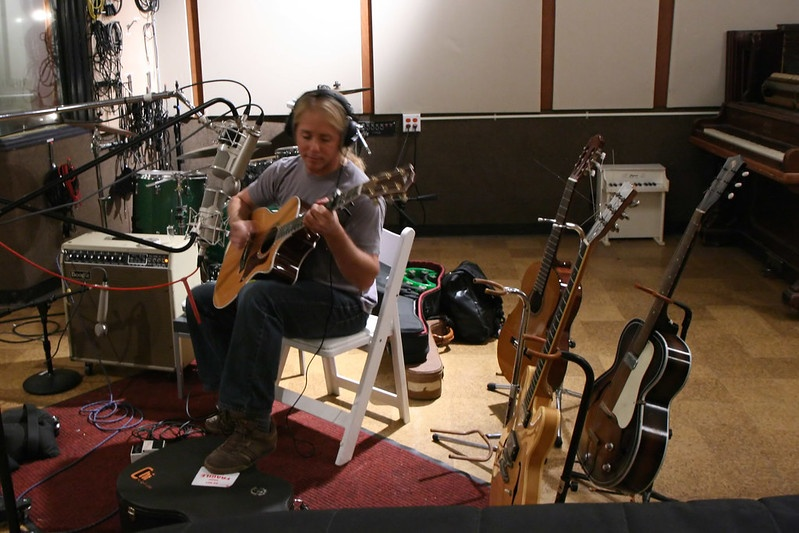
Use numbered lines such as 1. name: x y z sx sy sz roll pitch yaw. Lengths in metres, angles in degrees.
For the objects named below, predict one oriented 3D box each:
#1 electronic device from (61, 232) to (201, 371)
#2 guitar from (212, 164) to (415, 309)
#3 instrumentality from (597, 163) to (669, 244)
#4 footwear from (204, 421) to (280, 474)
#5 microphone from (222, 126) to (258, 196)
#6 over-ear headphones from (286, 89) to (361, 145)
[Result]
1. electronic device: -1.497 0.199 3.451 0.701 0.743 0.406 2 11 8
2. guitar: -0.321 -0.087 2.885 1.096 0.534 0.167 -27 -36 30
3. instrumentality: 2.204 -0.581 5.740 0.564 0.734 0.496 0 8 10
4. footwear: -0.696 0.799 2.741 0.156 0.189 0.443 6 2 25
5. microphone: -0.764 -0.492 2.969 0.074 0.342 0.106 21 -9 19
6. over-ear headphones: -0.352 -0.680 2.789 0.361 0.264 0.165 3 17 2
